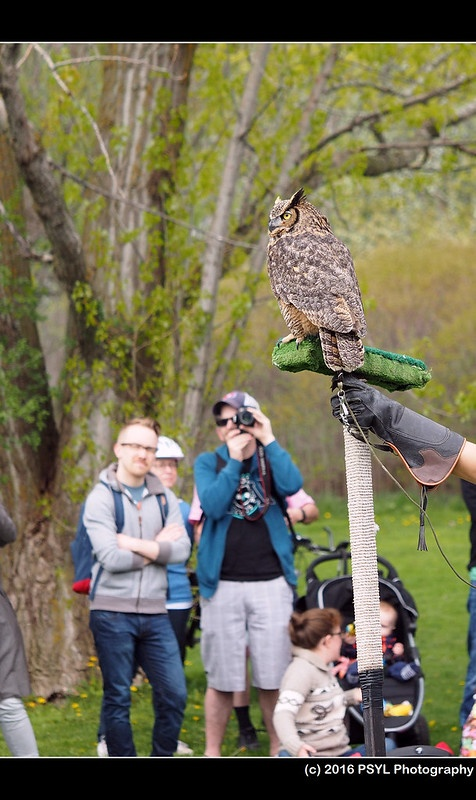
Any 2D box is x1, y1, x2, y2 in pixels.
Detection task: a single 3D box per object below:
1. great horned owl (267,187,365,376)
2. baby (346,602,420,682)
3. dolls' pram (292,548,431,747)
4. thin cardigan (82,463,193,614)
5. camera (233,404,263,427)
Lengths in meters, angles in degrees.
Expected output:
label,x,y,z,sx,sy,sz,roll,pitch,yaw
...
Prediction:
label,x,y,z,sx,sy,sz,roll,pitch,yaw
great horned owl,0.393,-0.651,7.698,0.464,1.011,1.151,-5,4,2
baby,0.912,1.524,9.113,0.444,0.494,0.203,-3,-12,3
dolls' pram,0.889,1.533,9.236,0.813,1.218,0.749,3,-9,-35
thin cardigan,-0.605,0.790,8.080,0.361,0.823,0.457,-3,5,22
camera,0.033,0.104,8.386,0.131,0.106,0.049,8,5,25
